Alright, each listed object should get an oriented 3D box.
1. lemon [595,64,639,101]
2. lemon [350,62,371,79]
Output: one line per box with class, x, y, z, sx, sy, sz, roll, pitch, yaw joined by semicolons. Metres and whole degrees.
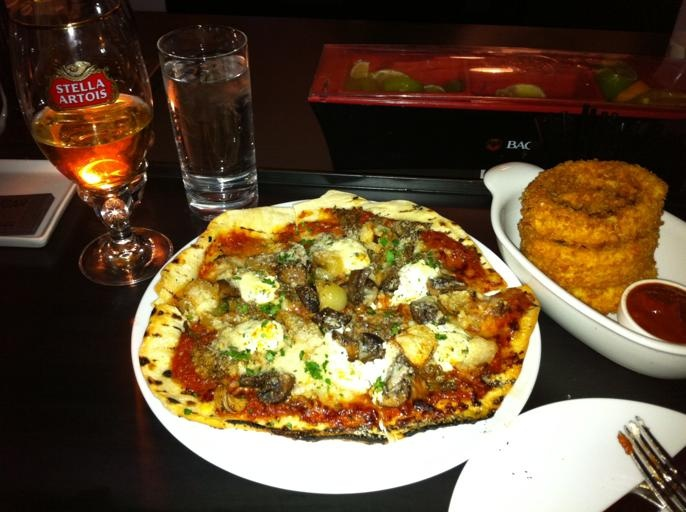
lemon;1.506;-0.970;2.961;0.211;0.080;0.319;6;43;5
lemon;0.095;-1.079;3.065;0.108;0.051;0.180;3;43;1
